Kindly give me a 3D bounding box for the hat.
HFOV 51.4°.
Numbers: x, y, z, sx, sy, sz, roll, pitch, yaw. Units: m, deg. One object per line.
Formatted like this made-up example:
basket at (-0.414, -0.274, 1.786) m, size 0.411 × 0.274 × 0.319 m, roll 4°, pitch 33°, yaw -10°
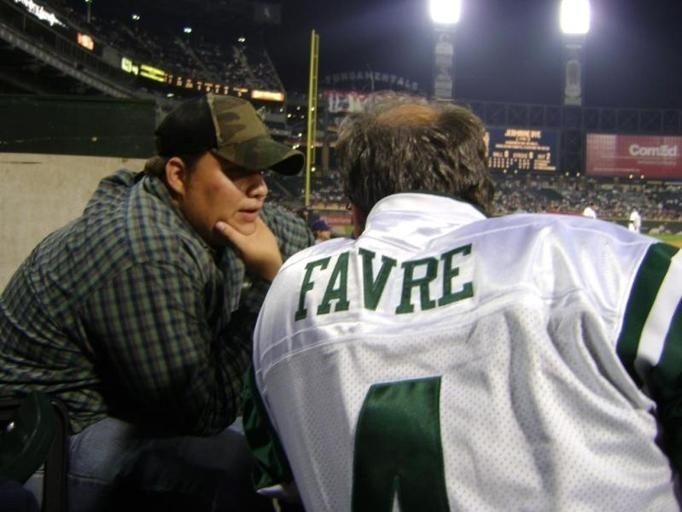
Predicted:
hat at (-0.447, -0.469, 2.759) m, size 0.572 × 0.331 × 0.388 m, roll -2°, pitch 3°, yaw 17°
